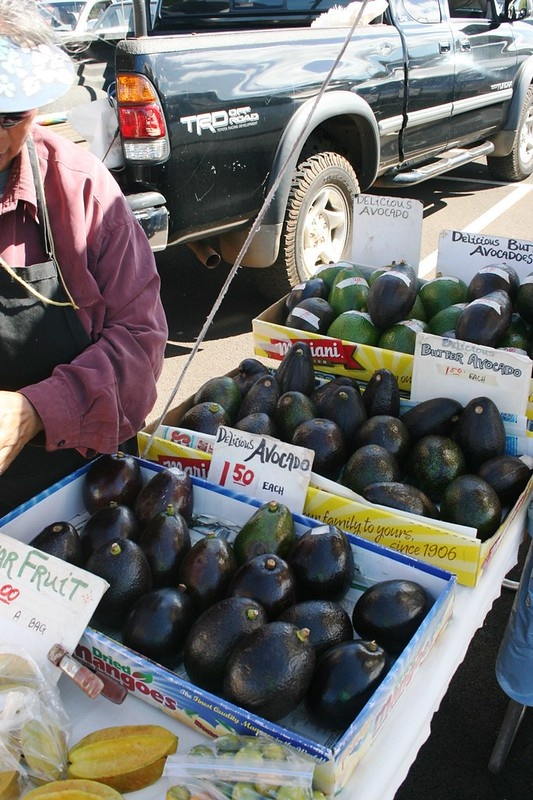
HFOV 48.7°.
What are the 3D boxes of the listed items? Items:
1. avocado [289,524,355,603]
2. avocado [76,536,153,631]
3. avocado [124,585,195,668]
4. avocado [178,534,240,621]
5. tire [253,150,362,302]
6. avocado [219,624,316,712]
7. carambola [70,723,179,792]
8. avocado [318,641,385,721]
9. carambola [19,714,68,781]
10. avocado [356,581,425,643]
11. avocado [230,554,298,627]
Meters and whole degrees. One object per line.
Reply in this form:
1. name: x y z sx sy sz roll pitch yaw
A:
1. avocado: 0.103 0.302 1.132 0.102 0.143 0.106 5 -2 27
2. avocado: -0.282 0.308 1.090 0.125 0.168 0.133 18 48 -2
3. avocado: -0.177 0.383 1.005 0.091 0.100 0.131 19 44 16
4. avocado: -0.115 0.310 1.109 0.090 0.087 0.149 18 41 5
5. tire: 0.367 -1.356 4.423 0.300 1.147 1.157 24 65 21
6. avocado: 0.007 0.396 0.852 0.135 0.124 0.087 1 17 -6
7. carambola: -0.202 0.489 0.814 0.120 0.045 0.083 -8 38 -13
8. avocado: 0.124 0.427 0.886 0.102 0.109 0.100 8 17 15
9. carambola: -0.306 0.478 0.805 0.060 0.077 0.025 -17 -4 -36
10. avocado: 0.230 0.351 1.049 0.113 0.089 0.085 -13 23 -34
11. avocado: -0.006 0.331 1.042 0.100 0.122 0.108 22 35 14
